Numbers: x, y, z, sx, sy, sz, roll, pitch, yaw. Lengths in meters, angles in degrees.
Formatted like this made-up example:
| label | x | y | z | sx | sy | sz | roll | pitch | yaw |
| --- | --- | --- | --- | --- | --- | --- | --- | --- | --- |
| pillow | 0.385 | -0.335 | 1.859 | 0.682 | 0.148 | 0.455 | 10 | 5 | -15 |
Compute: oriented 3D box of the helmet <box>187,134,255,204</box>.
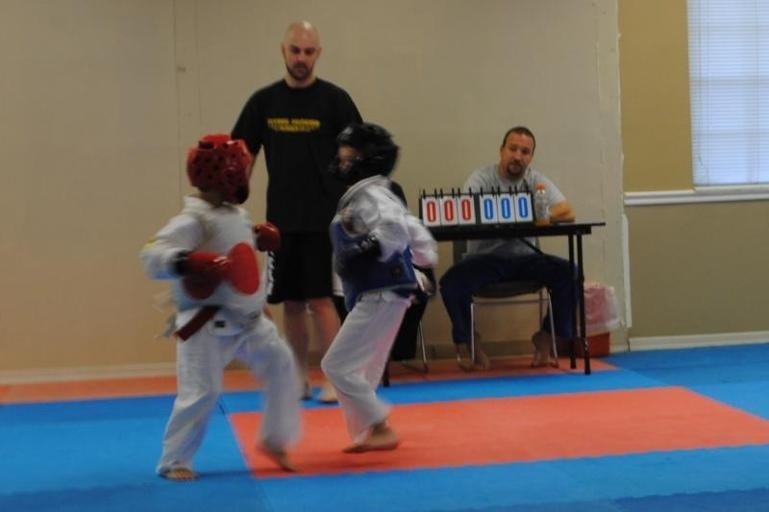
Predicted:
| label | x | y | z | sx | sy | sz | roll | pitch | yaw |
| --- | --- | --- | --- | --- | --- | --- | --- | --- | --- |
| helmet | -1.036 | -0.531 | 5.377 | 0.405 | 0.420 | 0.352 | 4 | 16 | -14 |

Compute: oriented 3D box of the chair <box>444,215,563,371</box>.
| label | x | y | z | sx | sy | sz | roll | pitch | yaw |
| --- | --- | --- | --- | --- | --- | --- | --- | --- | --- |
| chair | 1.079 | 0.350 | 7.610 | 1.369 | 1.357 | 0.952 | -2 | -6 | -2 |

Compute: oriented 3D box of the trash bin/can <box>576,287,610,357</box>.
| label | x | y | z | sx | sy | sz | roll | pitch | yaw |
| --- | --- | --- | --- | --- | --- | --- | --- | --- | --- |
| trash bin/can | 1.933 | 0.607 | 7.844 | 0.481 | 0.628 | 0.480 | -5 | -3 | 20 |

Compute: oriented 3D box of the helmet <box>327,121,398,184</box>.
| label | x | y | z | sx | sy | sz | roll | pitch | yaw |
| --- | --- | --- | --- | --- | --- | --- | --- | --- | --- |
| helmet | -0.201 | -0.713 | 5.764 | 0.328 | 0.436 | 0.426 | 8 | 20 | 27 |

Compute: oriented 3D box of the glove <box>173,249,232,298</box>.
| label | x | y | z | sx | sy | sz | roll | pitch | yaw |
| --- | --- | --- | --- | --- | --- | --- | --- | --- | --- |
| glove | -1.156 | 0.146 | 5.229 | 0.308 | 0.296 | 0.379 | -5 | -6 | 22 |

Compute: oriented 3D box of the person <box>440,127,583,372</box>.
| label | x | y | z | sx | sy | sz | roll | pitch | yaw |
| --- | --- | --- | --- | --- | --- | --- | --- | --- | --- |
| person | 1.109 | -0.074 | 7.604 | 1.124 | 2.063 | 1.162 | 0 | 2 | 9 |

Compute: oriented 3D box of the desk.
| label | x | y | z | sx | sy | sz | roll | pitch | yaw |
| --- | --- | --- | --- | --- | --- | --- | --- | --- | --- |
| desk | 1.153 | 0.455 | 7.713 | 1.284 | 1.220 | 1.341 | -2 | -3 | -1 |

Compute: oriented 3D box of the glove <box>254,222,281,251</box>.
| label | x | y | z | sx | sy | sz | roll | pitch | yaw |
| --- | --- | --- | --- | --- | --- | --- | --- | --- | --- |
| glove | -0.759 | -0.111 | 5.504 | 0.133 | 0.141 | 0.176 | 5 | 0 | -8 |
